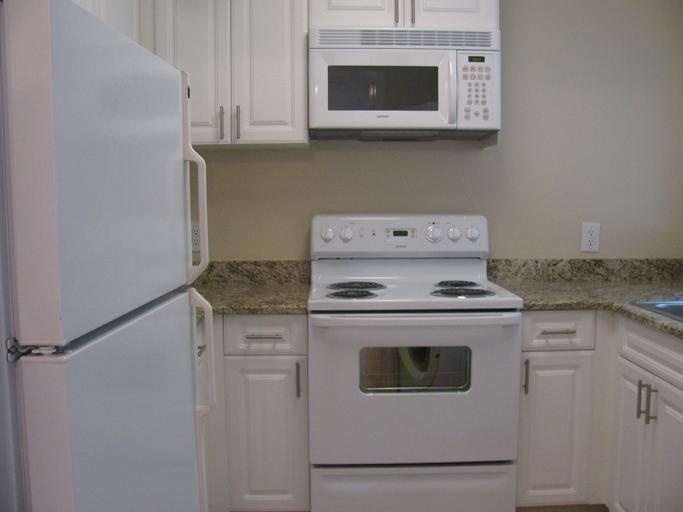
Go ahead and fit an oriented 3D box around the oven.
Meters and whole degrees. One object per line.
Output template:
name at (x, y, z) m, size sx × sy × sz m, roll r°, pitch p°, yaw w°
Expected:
oven at (0.300, 0.566, 2.724) m, size 0.809 × 0.642 × 0.612 m, roll 0°, pitch -11°, yaw 0°
